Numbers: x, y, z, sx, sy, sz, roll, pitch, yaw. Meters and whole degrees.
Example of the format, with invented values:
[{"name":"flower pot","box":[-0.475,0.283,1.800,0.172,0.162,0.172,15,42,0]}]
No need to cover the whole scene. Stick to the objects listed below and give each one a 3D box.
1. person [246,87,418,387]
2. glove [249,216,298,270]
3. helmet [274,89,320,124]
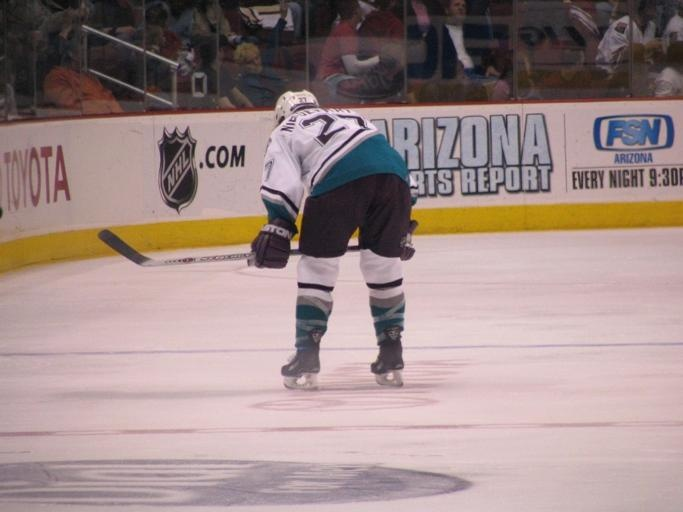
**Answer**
[{"name":"person","box":[-0.064,-0.037,6.886,0.880,1.503,0.482,-1,13,2]},{"name":"glove","box":[-0.381,-0.077,6.989,0.281,0.341,0.267,8,0,-4]},{"name":"helmet","box":[-0.279,-0.864,7.120,0.203,0.213,0.224,-4,4,-17]}]
